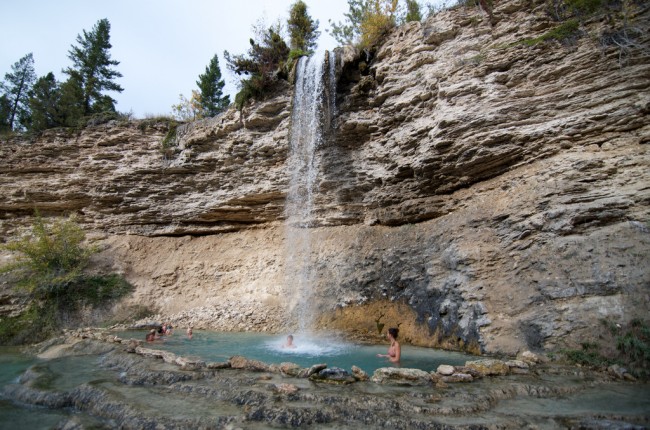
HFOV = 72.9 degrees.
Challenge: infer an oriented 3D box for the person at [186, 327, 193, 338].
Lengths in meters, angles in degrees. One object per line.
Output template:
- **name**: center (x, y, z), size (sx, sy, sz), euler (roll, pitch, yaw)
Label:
- **person**: center (-7.121, 6.152, 23.404), size (0.352, 0.463, 0.990), euler (4, -4, -9)

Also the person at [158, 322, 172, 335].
- **person**: center (-8.623, 6.122, 23.611), size (0.582, 0.533, 0.772), euler (6, -20, -22)

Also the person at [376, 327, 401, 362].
- **person**: center (2.672, 5.382, 18.307), size (0.849, 1.350, 2.855), euler (-4, -18, 7)
